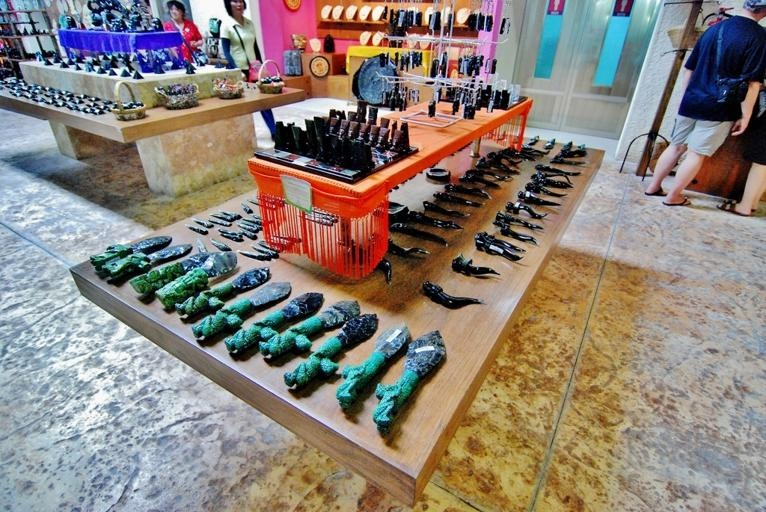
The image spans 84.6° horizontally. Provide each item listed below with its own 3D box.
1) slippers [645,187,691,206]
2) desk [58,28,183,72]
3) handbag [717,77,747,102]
[{"bbox_3d":[3.394,-0.663,5.009,0.589,0.146,0.198,7,33,19],"label":"slippers"},{"bbox_3d":[-3.341,-2.590,5.361,1.139,0.254,0.569,17,38,20],"label":"desk"},{"bbox_3d":[3.448,-1.611,4.203,0.246,0.216,0.222,6,48,20],"label":"handbag"}]
